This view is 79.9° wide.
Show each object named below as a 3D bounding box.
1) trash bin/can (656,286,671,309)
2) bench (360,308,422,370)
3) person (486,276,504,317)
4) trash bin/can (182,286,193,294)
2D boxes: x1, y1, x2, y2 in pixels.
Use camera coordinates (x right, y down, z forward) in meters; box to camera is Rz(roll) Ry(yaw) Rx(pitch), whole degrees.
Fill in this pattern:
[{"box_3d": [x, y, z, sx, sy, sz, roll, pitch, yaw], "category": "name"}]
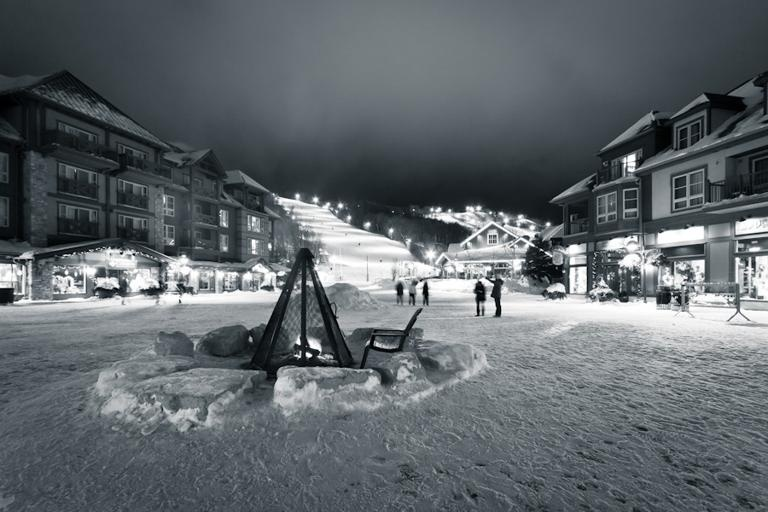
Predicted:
[{"box_3d": [13.691, 2.031, 22.219, 0.827, 1.478, 0.896, 0, 1, 26], "category": "trash bin/can"}, {"box_3d": [0.195, 2.194, 12.450, 1.486, 2.026, 1.387, 5, -8, -2], "category": "bench"}, {"box_3d": [5.107, 1.747, 20.447, 0.381, 1.642, 2.688, 0, -2, 13], "category": "person"}, {"box_3d": [-13.891, 2.442, 32.721, 0.937, 0.477, 0.783, 2, 3, 9], "category": "trash bin/can"}]
